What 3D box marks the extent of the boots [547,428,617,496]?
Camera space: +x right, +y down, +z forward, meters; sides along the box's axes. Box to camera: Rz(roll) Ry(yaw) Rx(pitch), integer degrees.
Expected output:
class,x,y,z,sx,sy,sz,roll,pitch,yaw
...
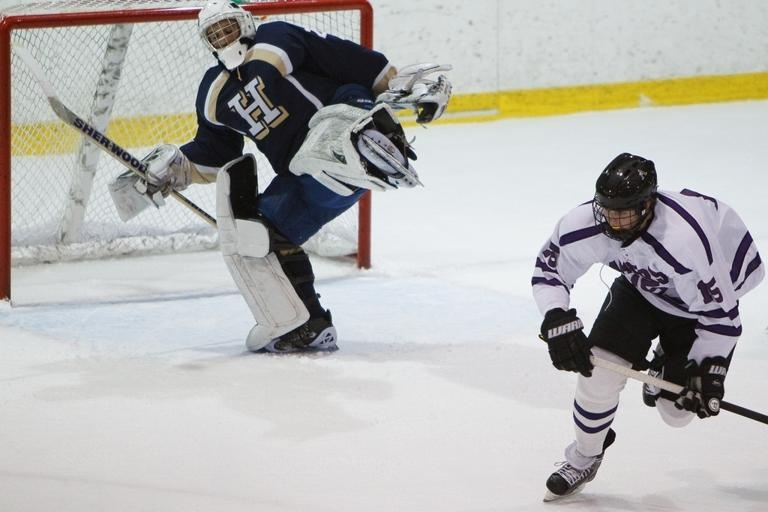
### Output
class,x,y,z,sx,sy,sz,roll,pitch,yaw
boots,0.830,0.849,3.317,0.272,0.124,0.088,-38,51,-13

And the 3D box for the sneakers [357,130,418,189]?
class,x,y,z,sx,sy,sz,roll,pitch,yaw
sneakers,0.027,-0.438,3.745,0.249,0.088,0.352,-34,-25,31

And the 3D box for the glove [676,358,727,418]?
class,x,y,z,sx,sy,sz,roll,pitch,yaw
glove,1.277,0.515,3.278,0.238,0.219,0.099,3,6,-13

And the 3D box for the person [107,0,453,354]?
class,x,y,z,sx,sy,sz,roll,pitch,yaw
person,-0.490,-0.380,4.116,1.537,1.717,0.578,4,9,28

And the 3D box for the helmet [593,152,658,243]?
class,x,y,z,sx,sy,sz,roll,pitch,yaw
helmet,0.996,-0.229,3.314,0.233,0.300,0.322,20,42,39

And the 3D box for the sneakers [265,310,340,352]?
class,x,y,z,sx,sy,sz,roll,pitch,yaw
sneakers,-0.404,0.400,4.135,0.405,0.160,0.140,-11,-2,14
